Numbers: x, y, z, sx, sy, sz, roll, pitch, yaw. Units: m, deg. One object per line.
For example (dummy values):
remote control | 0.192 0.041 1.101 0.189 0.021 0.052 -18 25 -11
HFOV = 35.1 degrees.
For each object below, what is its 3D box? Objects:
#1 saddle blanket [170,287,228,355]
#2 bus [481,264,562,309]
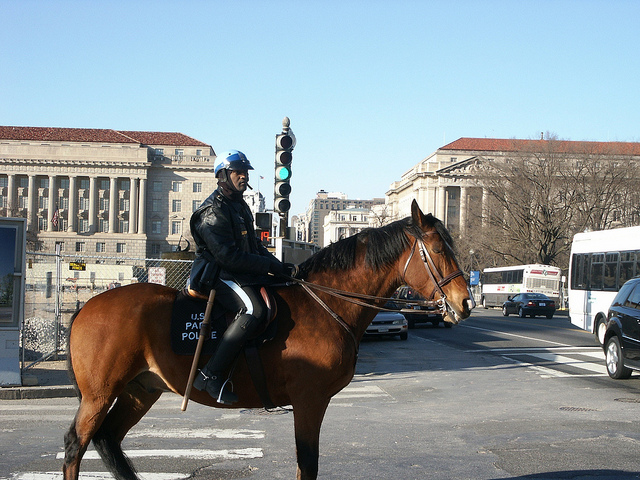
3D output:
saddle blanket | -2.045 1.417 17.274 0.972 1.179 0.219 4 -22 -3
bus | 12.252 2.793 61.274 3.220 3.235 8.420 0 -1 -1
